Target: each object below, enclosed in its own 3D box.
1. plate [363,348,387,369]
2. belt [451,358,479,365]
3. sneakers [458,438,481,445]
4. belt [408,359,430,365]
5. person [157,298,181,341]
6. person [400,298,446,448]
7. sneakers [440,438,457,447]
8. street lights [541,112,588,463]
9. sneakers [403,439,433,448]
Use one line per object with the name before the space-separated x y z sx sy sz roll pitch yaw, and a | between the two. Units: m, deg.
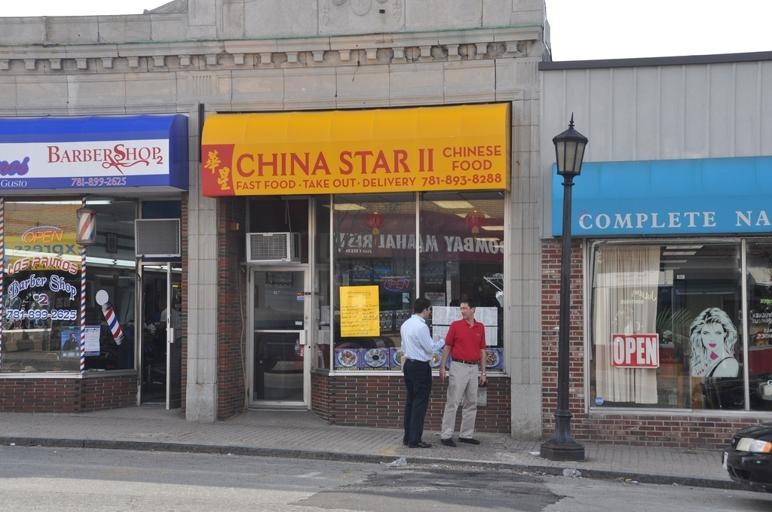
plate | -0.215 2.070 25.403 0.503 0.414 0.051 -1 -4 17
belt | 1.544 2.019 23.883 0.546 0.106 0.146 1 -4 -13
sneakers | 1.628 3.544 23.919 0.396 0.147 0.136 -1 -3 10
belt | 0.649 1.989 23.534 0.356 0.101 0.106 1 -4 -13
person | -4.683 1.375 26.861 0.378 0.925 0.536 1 -4 -18
person | 0.676 2.199 23.601 0.742 2.808 0.467 0 -4 1
sneakers | 1.187 3.537 23.710 0.257 0.093 0.138 -9 -11 44
street lights | 3.366 0.605 23.081 0.591 6.280 0.844 3 -5 -39
sneakers | 0.613 3.517 23.525 0.514 0.179 0.178 0 -2 -7
